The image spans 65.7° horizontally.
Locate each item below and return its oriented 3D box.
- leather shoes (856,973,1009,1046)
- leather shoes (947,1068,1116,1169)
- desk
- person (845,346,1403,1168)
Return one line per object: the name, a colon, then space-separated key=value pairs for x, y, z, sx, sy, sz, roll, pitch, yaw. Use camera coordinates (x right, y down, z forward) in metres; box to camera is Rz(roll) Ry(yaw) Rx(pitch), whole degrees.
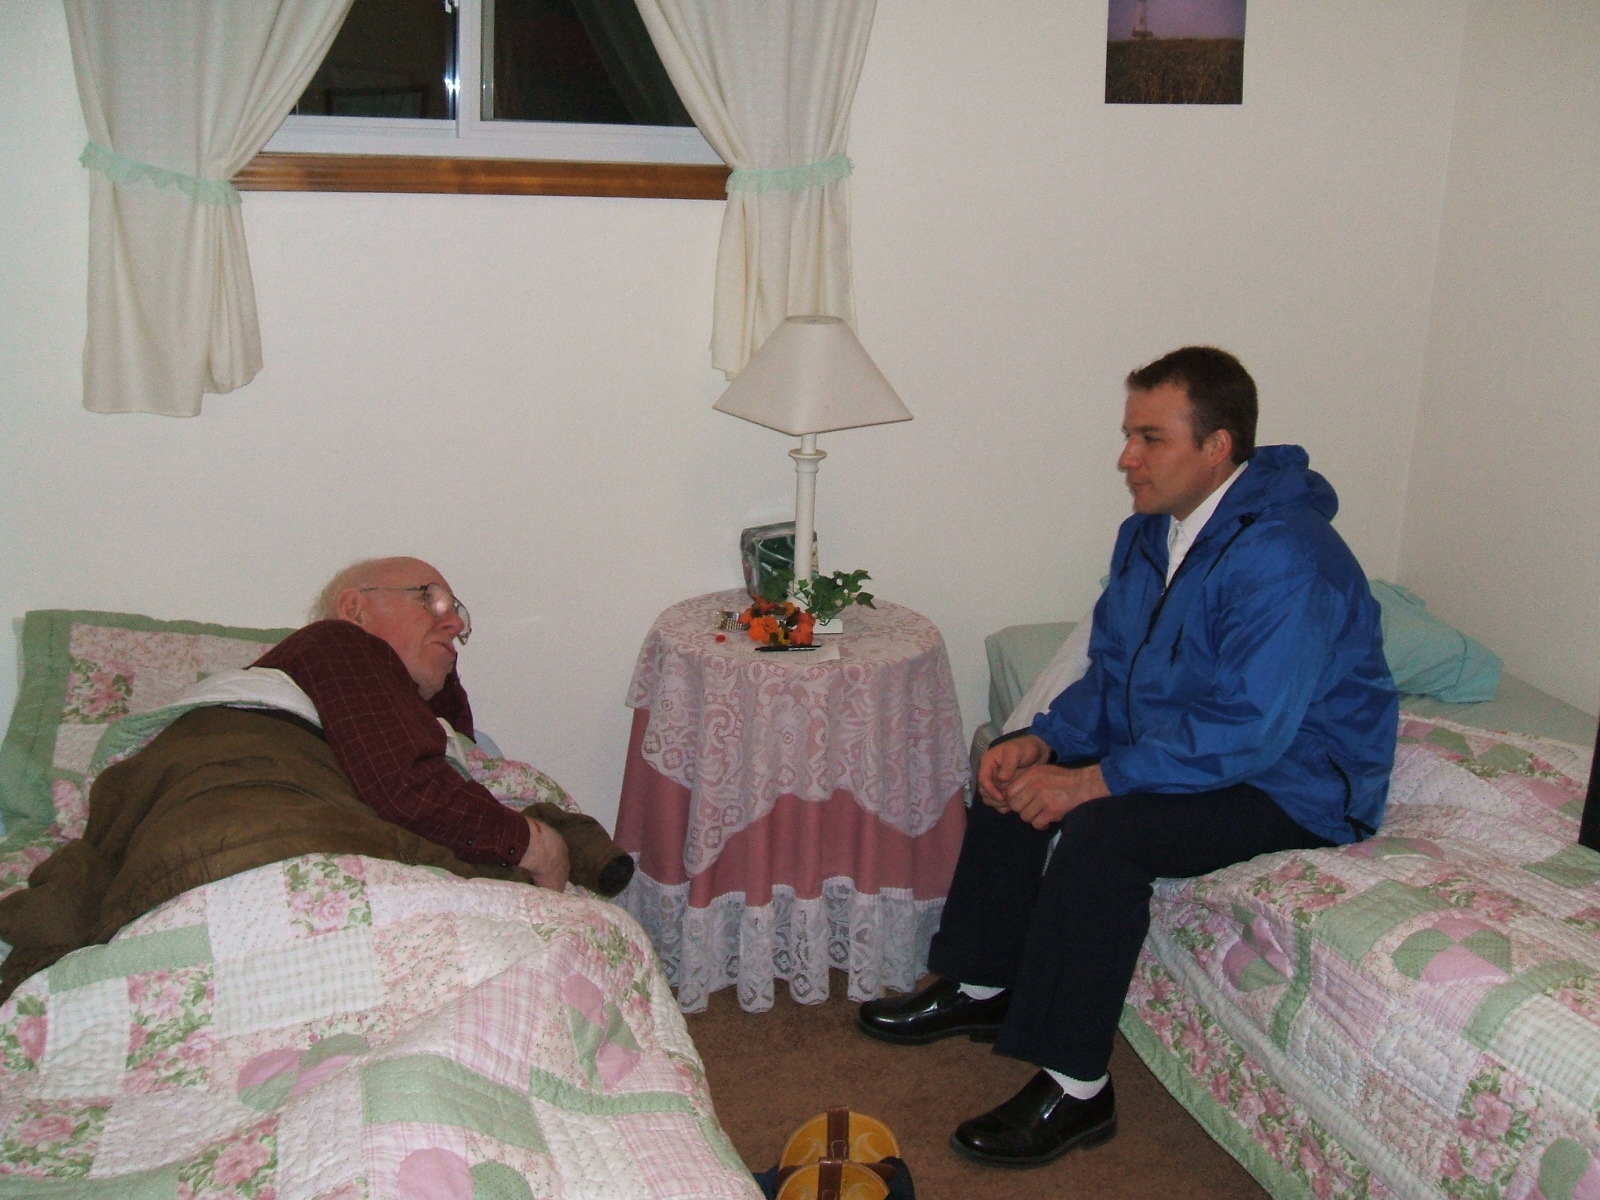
leather shoes: x=0.305 y=0.946 z=2.895 sx=0.354 sy=0.168 sz=0.141 roll=5 pitch=7 yaw=-5
leather shoes: x=0.481 y=1.067 z=2.578 sx=0.335 sy=0.166 sz=0.145 roll=-3 pitch=6 yaw=-17
desk: x=-0.026 y=0.515 z=3.296 sx=0.994 sy=1.030 sz=1.061 roll=-2 pitch=-22 yaw=24
person: x=0.912 y=0.292 z=3.633 sx=1.490 sy=2.454 sz=1.137 roll=0 pitch=5 yaw=-7
